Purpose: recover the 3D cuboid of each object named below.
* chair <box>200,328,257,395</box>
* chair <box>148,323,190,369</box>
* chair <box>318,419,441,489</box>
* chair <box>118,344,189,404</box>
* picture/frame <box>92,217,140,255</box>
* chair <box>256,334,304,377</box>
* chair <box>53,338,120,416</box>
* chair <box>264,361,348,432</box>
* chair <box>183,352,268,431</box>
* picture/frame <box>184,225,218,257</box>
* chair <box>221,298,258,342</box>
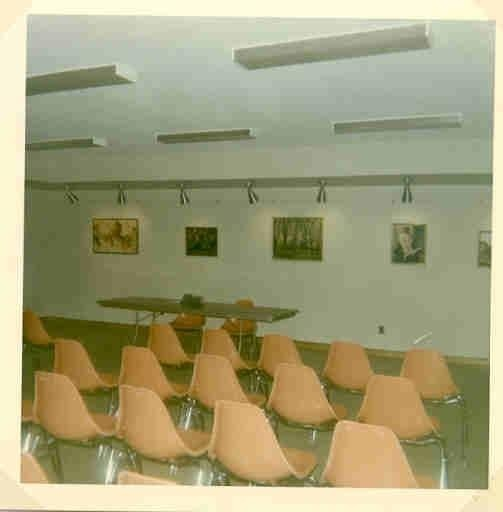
[{"bbox_3d":[-0.175,0.887,4.158,0.394,0.619,0.423,0,-5,35],"label":"chair"},{"bbox_3d":[-0.720,0.839,4.328,0.380,0.421,0.296,-3,-3,36],"label":"chair"},{"bbox_3d":[0.637,0.961,2.227,0.463,0.312,0.327,-1,-20,14],"label":"chair"},{"bbox_3d":[-0.753,0.798,3.613,0.439,0.449,0.431,4,22,25],"label":"chair"},{"bbox_3d":[-2.291,-0.333,7.921,0.884,0.499,0.185,4,1,11],"label":"picture/frame"},{"bbox_3d":[0.243,0.833,4.027,0.303,0.485,0.348,4,2,25],"label":"chair"},{"bbox_3d":[-1.228,1.009,3.791,0.449,0.580,0.454,4,0,8],"label":"chair"},{"bbox_3d":[0.358,0.907,3.232,0.479,0.441,0.474,1,3,2],"label":"chair"},{"bbox_3d":[-0.181,0.882,3.439,0.457,0.734,0.507,2,-1,27],"label":"chair"},{"bbox_3d":[-0.827,-0.225,7.664,0.576,0.424,0.114,4,1,20],"label":"picture/frame"},{"bbox_3d":[-0.132,0.804,6.053,0.379,0.498,0.449,2,-8,6],"label":"chair"}]
